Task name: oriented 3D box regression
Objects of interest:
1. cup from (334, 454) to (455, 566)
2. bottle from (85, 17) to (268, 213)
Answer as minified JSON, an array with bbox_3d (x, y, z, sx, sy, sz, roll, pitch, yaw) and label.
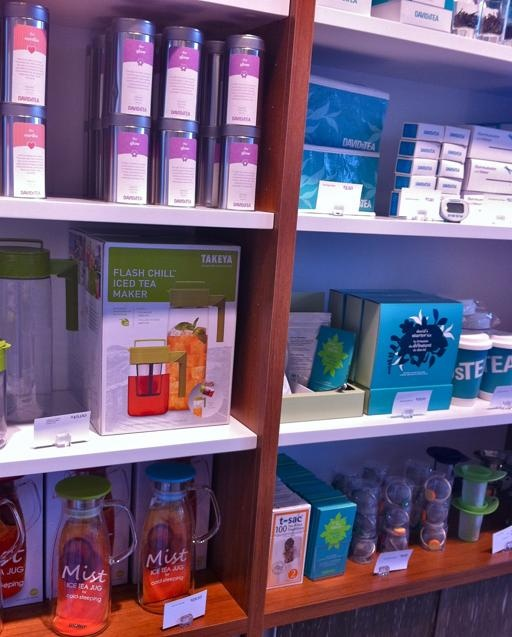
[{"bbox_3d":[0.353,0.478,1.372,0.306,0.214,0.176,-4,10,-20],"label":"cup"},{"bbox_3d":[-0.177,-0.327,0.883,0.341,0.286,0.206,6,12,26],"label":"bottle"}]
